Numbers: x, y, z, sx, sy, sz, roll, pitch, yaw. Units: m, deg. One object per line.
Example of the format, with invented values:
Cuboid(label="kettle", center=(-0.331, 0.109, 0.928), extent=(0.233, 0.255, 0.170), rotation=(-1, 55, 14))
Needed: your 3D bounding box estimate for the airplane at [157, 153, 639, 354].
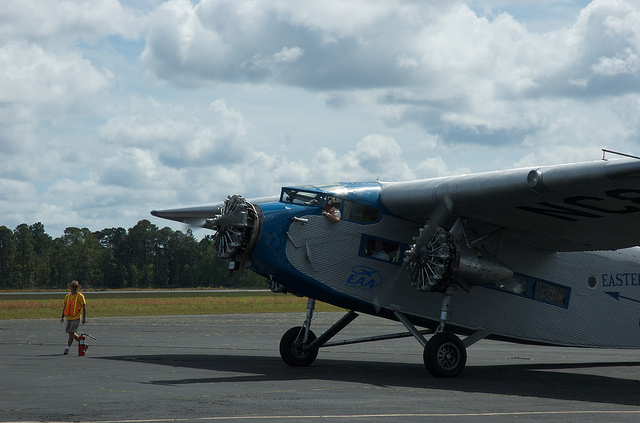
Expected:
Cuboid(label="airplane", center=(5.217, 1.364, 27.317), extent=(11.563, 3.260, 10.537), rotation=(9, -8, -27))

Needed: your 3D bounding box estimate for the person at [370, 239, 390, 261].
Cuboid(label="person", center=(2.083, 1.345, 27.559), extent=(0.884, 0.509, 0.396), rotation=(4, -4, 15))
